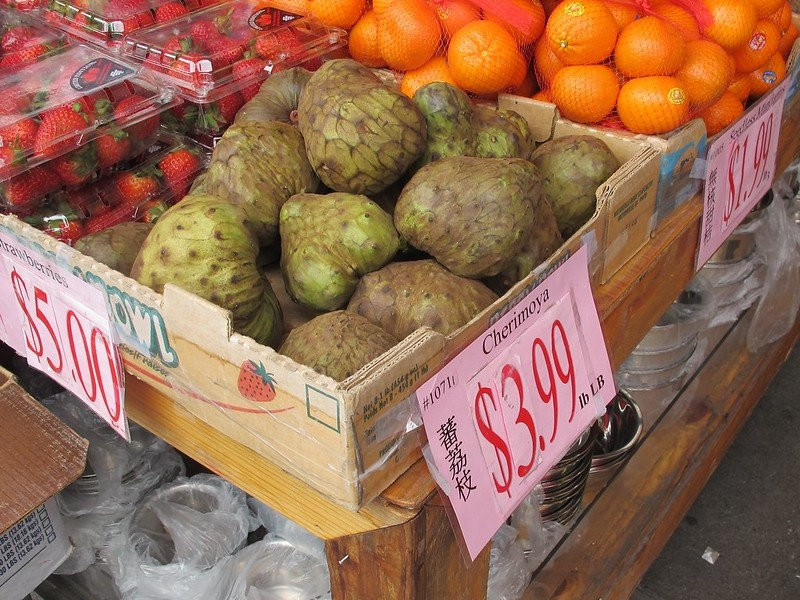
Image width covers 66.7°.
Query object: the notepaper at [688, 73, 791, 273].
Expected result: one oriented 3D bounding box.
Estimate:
[{"bbox_3d":[0.983,-0.380,1.757,0.010,0.348,0.497,19,61,33],"label":"notepaper"}]
